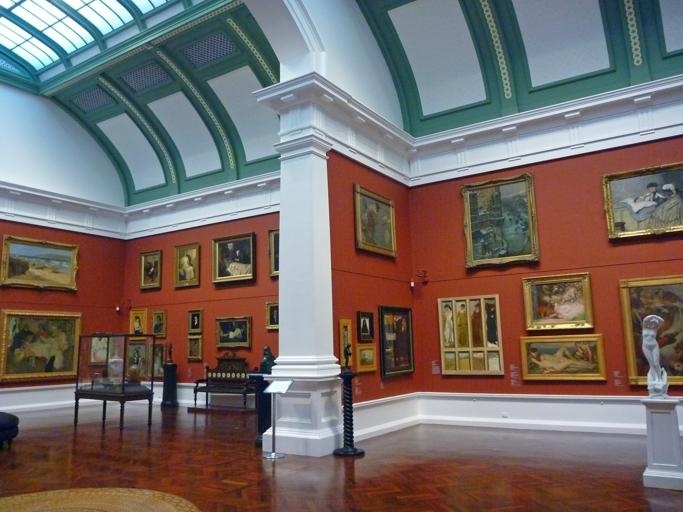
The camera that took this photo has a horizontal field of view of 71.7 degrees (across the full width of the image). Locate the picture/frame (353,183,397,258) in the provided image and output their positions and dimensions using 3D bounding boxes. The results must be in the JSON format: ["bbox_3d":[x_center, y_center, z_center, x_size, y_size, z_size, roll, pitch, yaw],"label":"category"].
[{"bbox_3d":[0.745,-0.828,11.249,0.112,1.438,1.612,-12,-18,34],"label":"picture/frame"}]

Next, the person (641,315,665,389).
[{"bbox_3d":[4.824,1.507,7.294,0.282,1.194,0.481,-7,-11,33],"label":"person"}]

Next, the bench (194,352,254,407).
[{"bbox_3d":[-3.697,3.989,15.157,2.296,2.186,0.934,-5,-13,29],"label":"bench"}]
